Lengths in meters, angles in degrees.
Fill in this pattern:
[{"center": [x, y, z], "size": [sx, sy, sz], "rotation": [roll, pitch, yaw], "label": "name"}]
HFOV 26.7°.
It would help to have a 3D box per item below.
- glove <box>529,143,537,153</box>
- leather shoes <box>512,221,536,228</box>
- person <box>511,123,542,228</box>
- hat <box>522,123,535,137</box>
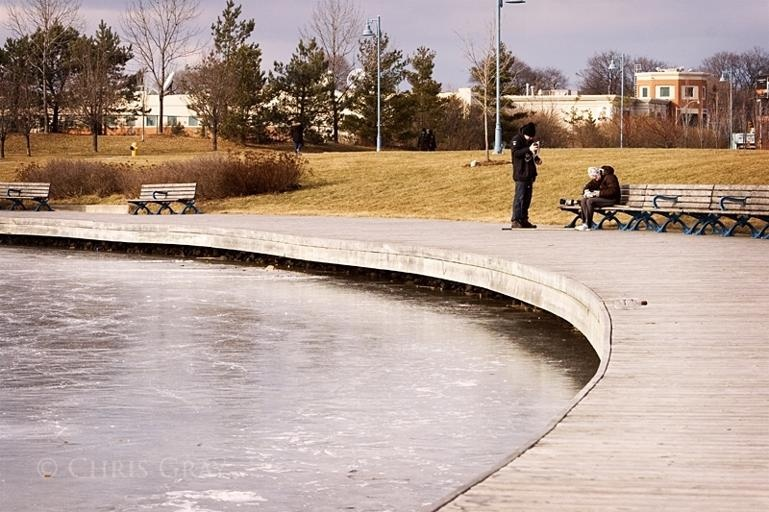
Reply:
[{"center": [3.228, -2.396, 35.571], "size": [0.197, 0.267, 0.433], "rotation": [1, 8, 5], "label": "glove"}, {"center": [3.115, -0.729, 36.738], "size": [0.537, 0.194, 0.182], "rotation": [-2, 6, -10], "label": "leather shoes"}, {"center": [3.072, -1.772, 36.018], "size": [0.615, 2.405, 1.121], "rotation": [1, 8, 4], "label": "person"}, {"center": [3.145, -2.809, 35.880], "size": [0.281, 0.135, 0.327], "rotation": [2, -11, -15], "label": "hat"}]
